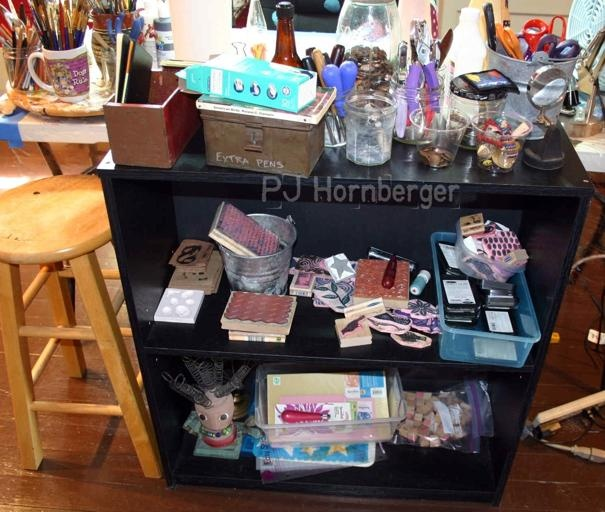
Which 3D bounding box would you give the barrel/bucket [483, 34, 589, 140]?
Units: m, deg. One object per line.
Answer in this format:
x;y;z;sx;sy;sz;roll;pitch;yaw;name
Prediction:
0.468;-0.374;1.118;0.201;0.188;0.199;-4;39;3;barrel/bucket

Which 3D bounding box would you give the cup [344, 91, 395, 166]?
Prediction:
0.157;-0.282;1.117;0.145;0.144;0.137;-2;43;2;cup

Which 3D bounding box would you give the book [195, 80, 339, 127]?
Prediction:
-0.073;-0.320;1.024;0.261;0.043;0.131;7;35;12;book

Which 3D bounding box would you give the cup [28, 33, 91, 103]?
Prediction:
-0.657;-0.490;1.320;0.154;0.133;0.096;1;28;-5;cup

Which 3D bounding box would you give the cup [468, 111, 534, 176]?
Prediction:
0.417;-0.232;1.065;0.142;0.100;0.141;7;6;-1;cup

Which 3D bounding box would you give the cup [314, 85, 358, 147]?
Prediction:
0.094;-0.310;1.139;0.070;0.104;0.066;-3;12;1;cup

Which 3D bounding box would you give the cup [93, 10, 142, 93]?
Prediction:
-0.538;-0.563;1.395;0.126;0.185;0.133;0;-2;0;cup

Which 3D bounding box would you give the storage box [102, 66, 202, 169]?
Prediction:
-0.320;-0.301;1.108;0.141;0.116;0.250;5;29;10;storage box

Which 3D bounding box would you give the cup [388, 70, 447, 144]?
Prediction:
0.270;-0.345;1.103;0.126;0.171;0.110;-1;31;6;cup

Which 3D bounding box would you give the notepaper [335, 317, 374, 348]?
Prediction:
0.131;0.195;1.278;0.087;0.037;0.077;-3;34;-4;notepaper

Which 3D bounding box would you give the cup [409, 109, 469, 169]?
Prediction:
0.290;-0.247;1.098;0.152;0.113;0.149;7;-4;0;cup

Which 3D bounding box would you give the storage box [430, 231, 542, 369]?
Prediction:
0.508;0.146;1.351;0.233;0.116;0.371;3;29;22;storage box

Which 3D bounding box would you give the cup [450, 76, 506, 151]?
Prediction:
0.369;-0.307;1.039;0.109;0.112;0.108;4;46;-4;cup

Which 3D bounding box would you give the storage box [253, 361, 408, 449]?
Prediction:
0.072;0.421;1.433;0.360;0.123;0.218;-1;48;-2;storage box

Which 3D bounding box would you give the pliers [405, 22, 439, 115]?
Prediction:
0.257;-0.397;1.034;0.036;0.098;0.036;25;-7;-10;pliers
